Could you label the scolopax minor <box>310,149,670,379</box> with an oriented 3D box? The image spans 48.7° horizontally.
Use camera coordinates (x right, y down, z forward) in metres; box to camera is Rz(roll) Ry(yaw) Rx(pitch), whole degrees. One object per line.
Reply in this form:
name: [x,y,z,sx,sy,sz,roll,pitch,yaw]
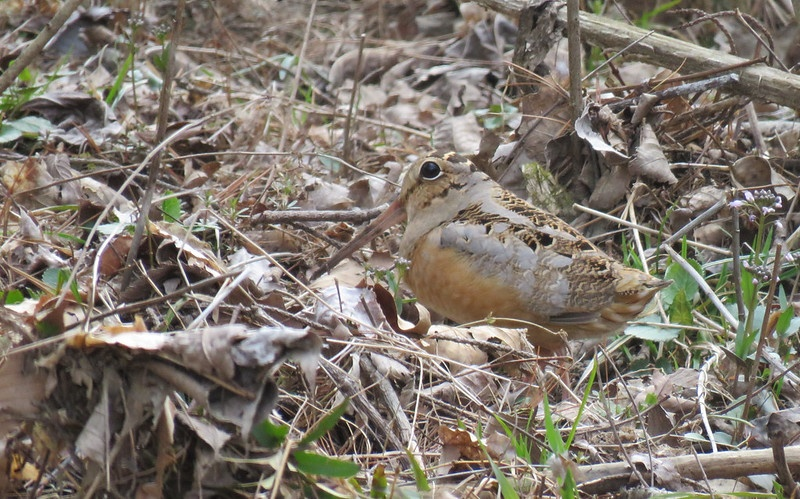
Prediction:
scolopax minor: [0.767,-0.025,5.437,2.244,0.941,1.217,2,89,18]
